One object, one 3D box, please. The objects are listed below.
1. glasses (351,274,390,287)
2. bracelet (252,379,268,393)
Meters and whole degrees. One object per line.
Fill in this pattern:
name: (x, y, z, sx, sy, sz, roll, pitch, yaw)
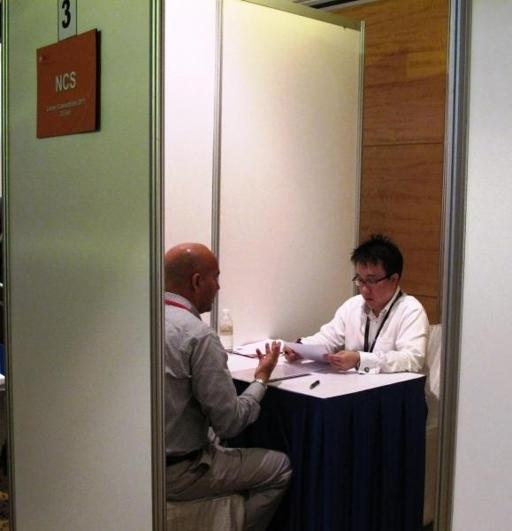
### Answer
glasses: (0.473, 0.068, 2.324, 0.167, 0.046, 0.069, -3, 0, 44)
bracelet: (0.014, 0.377, 1.701, 0.036, 0.035, 0.040, -36, 20, 29)
